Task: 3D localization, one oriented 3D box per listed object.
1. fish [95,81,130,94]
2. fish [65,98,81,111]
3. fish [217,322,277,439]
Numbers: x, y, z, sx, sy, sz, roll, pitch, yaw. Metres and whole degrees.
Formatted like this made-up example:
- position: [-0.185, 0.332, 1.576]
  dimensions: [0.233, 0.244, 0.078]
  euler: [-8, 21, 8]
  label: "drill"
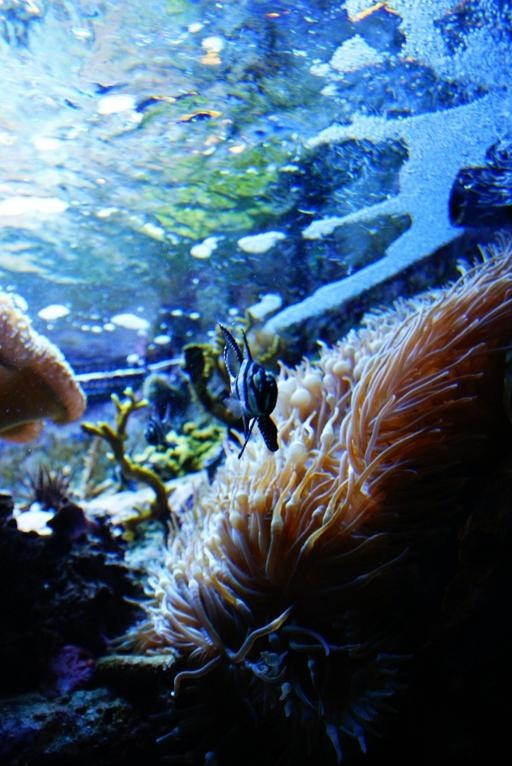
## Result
- position: [-0.718, -1.454, 3.679]
  dimensions: [0.154, 0.040, 0.061]
  euler: [-16, 9, -12]
  label: "fish"
- position: [-0.927, -1.388, 3.737]
  dimensions: [0.049, 0.040, 0.074]
  euler: [-13, 9, 25]
  label: "fish"
- position: [-0.013, 0.029, 2.645]
  dimensions: [0.190, 0.331, 0.375]
  euler: [-20, 9, -2]
  label: "fish"
